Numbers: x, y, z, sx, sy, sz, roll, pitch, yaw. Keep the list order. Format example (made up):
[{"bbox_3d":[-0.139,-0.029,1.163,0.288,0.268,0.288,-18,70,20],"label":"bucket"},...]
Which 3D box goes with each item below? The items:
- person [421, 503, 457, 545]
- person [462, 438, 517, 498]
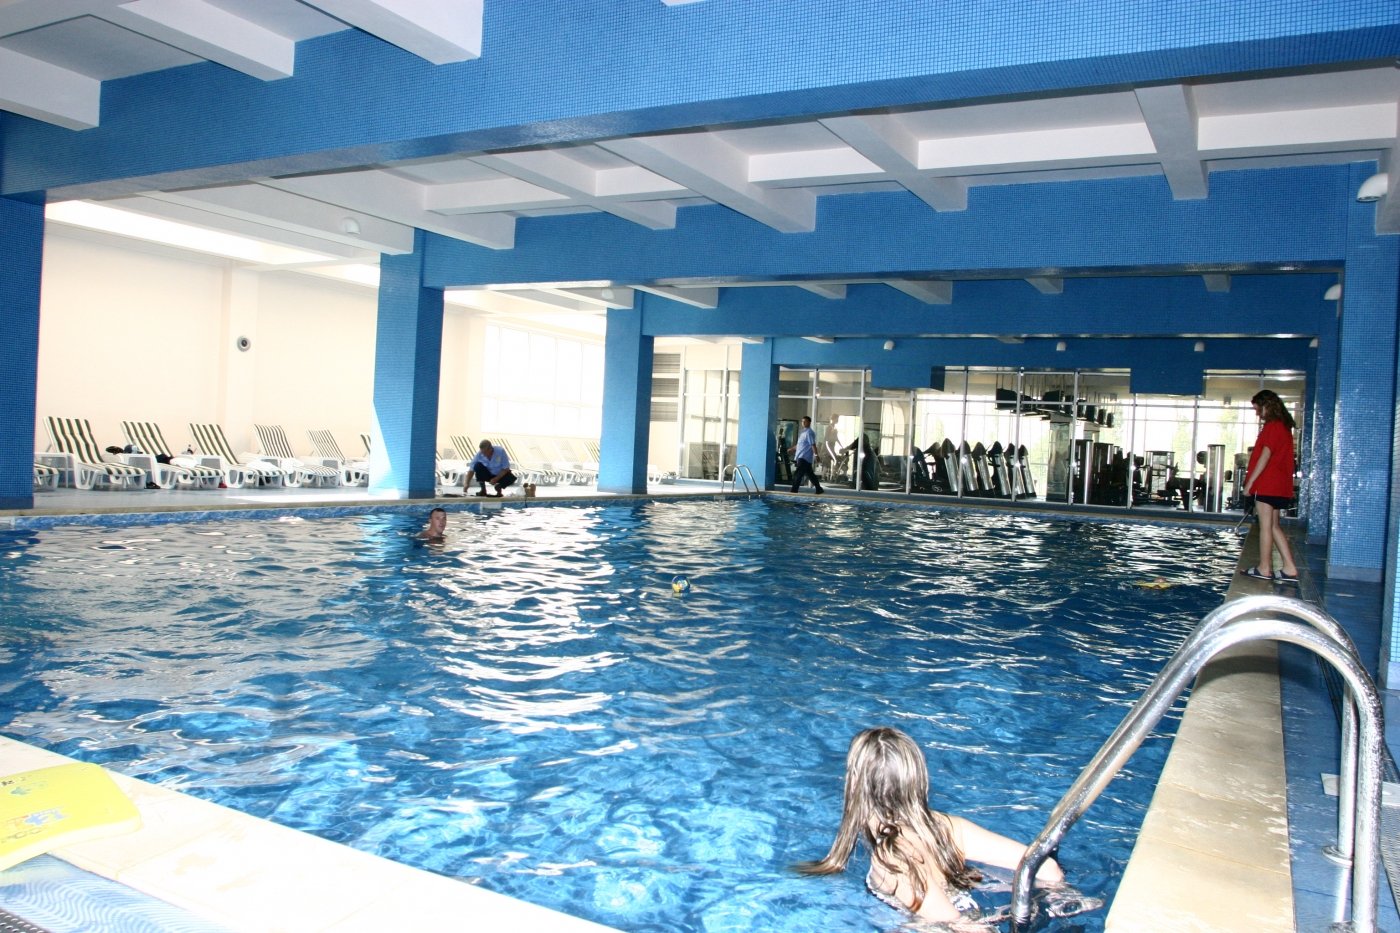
[{"bbox_3d":[-3.655,0.756,11.731,0.377,0.466,1.338,2,4,-18],"label":"person"},{"bbox_3d":[-4.153,0.041,16.760,0.796,1.085,1.014,3,4,-5],"label":"person"}]
